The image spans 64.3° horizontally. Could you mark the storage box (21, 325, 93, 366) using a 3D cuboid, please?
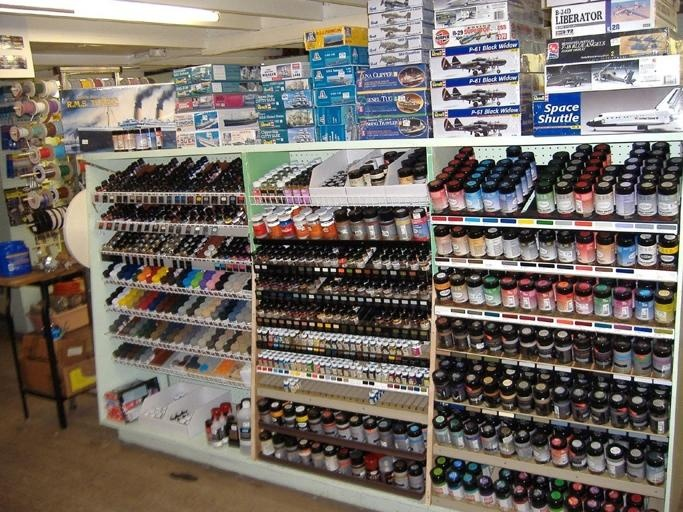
[{"bbox_3d":[-3.233,1.006,6.100,0.509,0.140,0.527,5,9,42],"label":"storage box"}]

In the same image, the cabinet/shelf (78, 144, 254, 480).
[{"bbox_3d":[-1.617,0.393,5.165,2.042,2.731,0.974,4,18,27],"label":"cabinet/shelf"}]
